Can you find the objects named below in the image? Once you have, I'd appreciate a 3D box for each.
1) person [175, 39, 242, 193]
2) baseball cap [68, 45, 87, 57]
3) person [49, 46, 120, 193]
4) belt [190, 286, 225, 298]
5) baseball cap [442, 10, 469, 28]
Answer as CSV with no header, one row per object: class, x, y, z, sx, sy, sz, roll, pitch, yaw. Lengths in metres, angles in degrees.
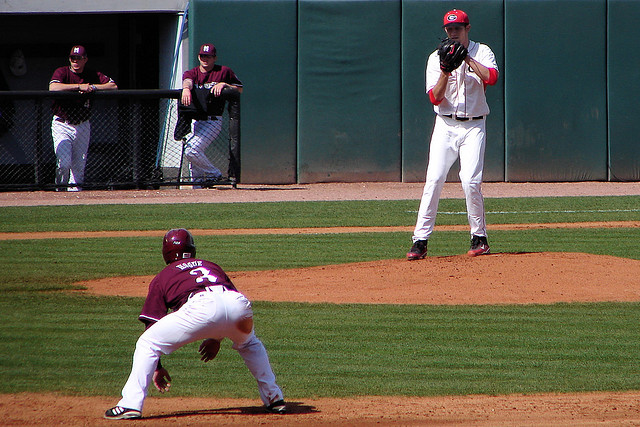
person,-2.009,-1.717,19.893,1.052,2.406,0.978,0,2,-7
baseball cap,-4.153,-2.827,19.470,0.260,0.181,0.368,2,2,7
person,-4.204,-1.669,19.766,0.956,2.410,0.922,0,2,-11
belt,-1.328,0.920,13.555,0.370,0.080,0.040,0,2,-10
baseball cap,1.919,-2.729,15.784,0.227,0.147,0.302,2,8,31
